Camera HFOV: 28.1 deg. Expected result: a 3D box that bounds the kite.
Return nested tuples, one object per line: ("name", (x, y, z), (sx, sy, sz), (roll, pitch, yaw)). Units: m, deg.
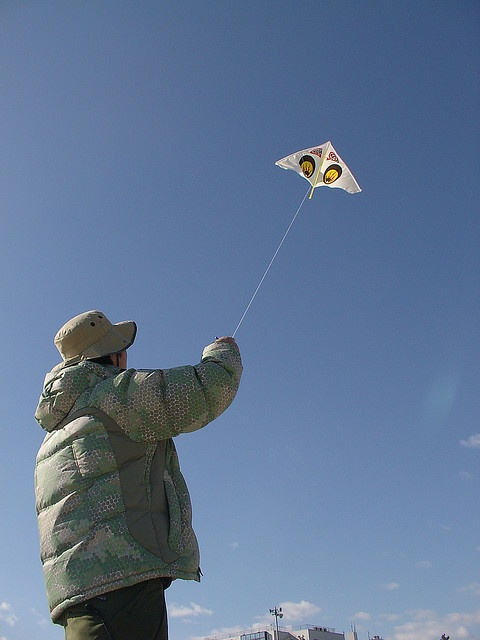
("kite", (0.774, -1.468, 9.350), (0.936, 0.581, 0.031), (13, 8, -22))
